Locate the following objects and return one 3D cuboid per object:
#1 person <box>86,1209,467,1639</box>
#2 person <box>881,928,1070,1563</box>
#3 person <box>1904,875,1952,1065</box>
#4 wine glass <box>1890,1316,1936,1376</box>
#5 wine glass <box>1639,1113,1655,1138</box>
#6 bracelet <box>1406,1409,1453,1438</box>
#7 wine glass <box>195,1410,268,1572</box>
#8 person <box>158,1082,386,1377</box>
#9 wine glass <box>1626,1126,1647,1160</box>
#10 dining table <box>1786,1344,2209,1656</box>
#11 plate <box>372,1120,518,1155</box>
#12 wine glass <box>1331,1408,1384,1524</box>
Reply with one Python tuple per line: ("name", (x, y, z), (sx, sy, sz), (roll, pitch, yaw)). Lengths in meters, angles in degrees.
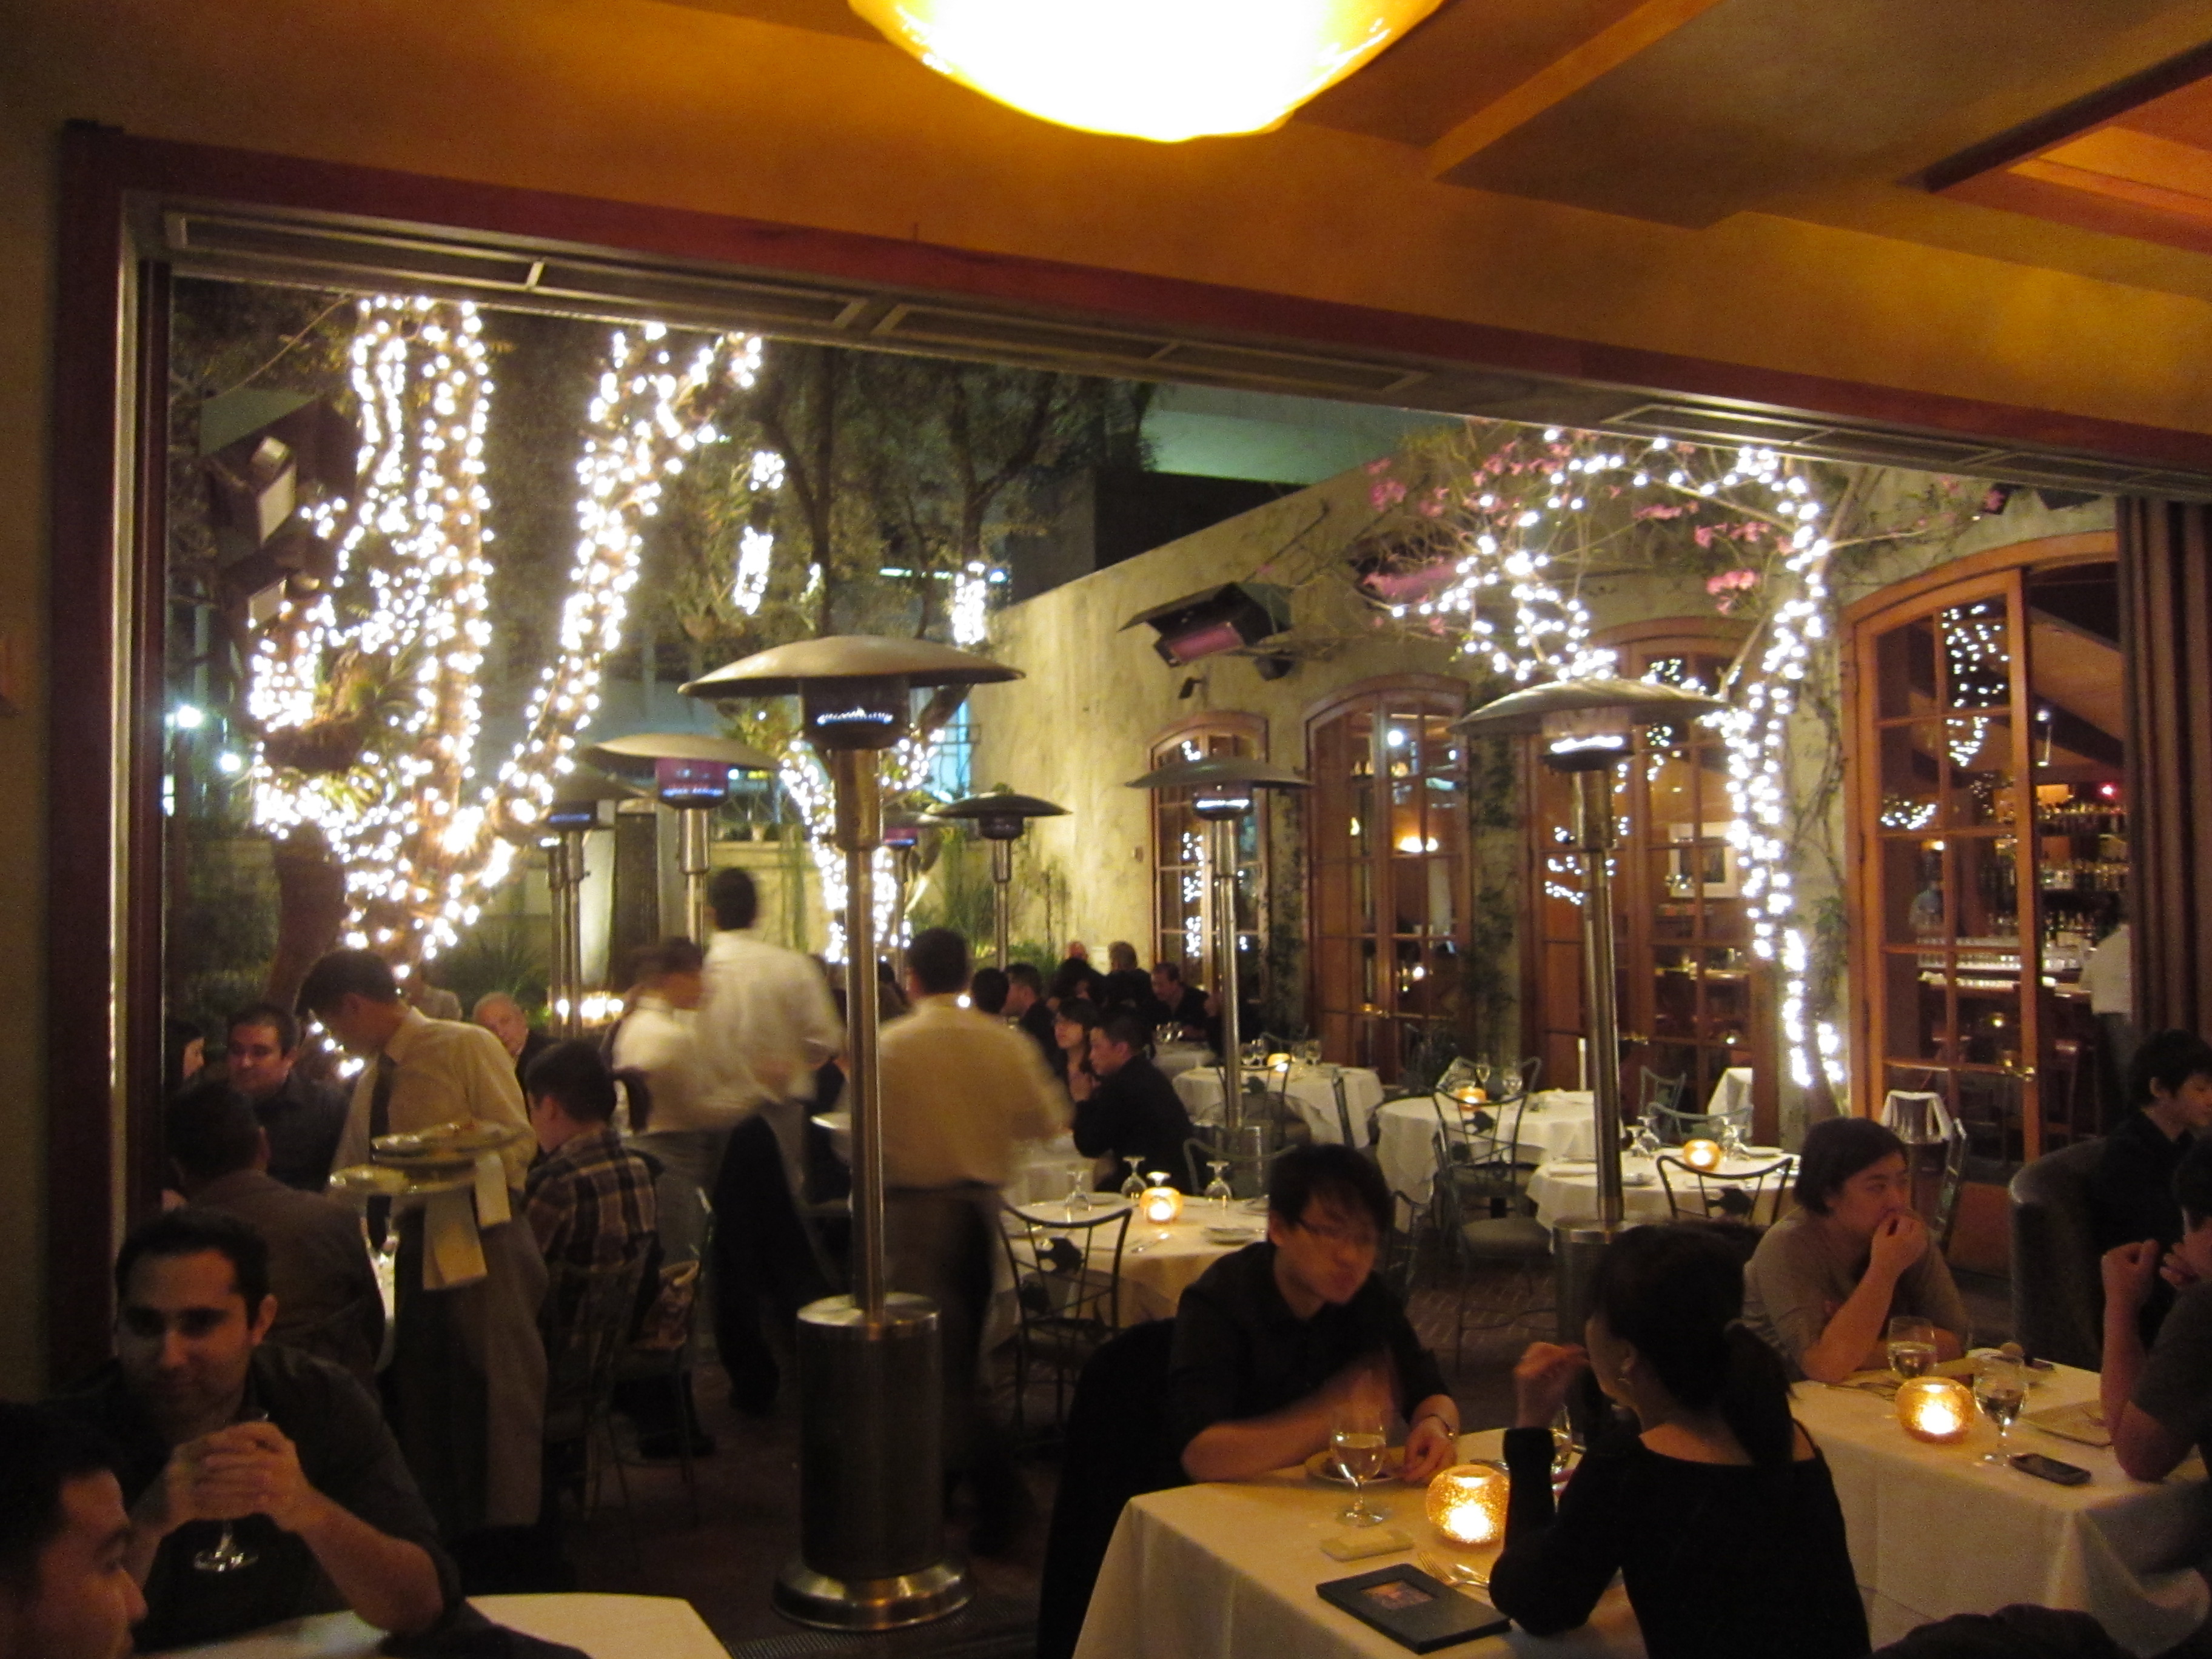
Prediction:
("person", (-1.534, 1.104, 3.798), (0.592, 0.786, 0.385), (0, -3, -25))
("person", (-0.446, 1.279, 6.609), (0.511, 1.943, 0.702), (-1, -2, 11))
("person", (3.666, 0.630, 9.024), (0.097, 0.822, 0.347), (-1, -2, -3))
("wine glass", (1.944, 1.248, 4.918), (0.101, 0.121, 0.106), (-4, -3, 30))
("wine glass", (2.398, 1.304, 8.977), (0.067, 0.081, 0.070), (-1, -4, -5))
("bracelet", (0.737, 1.330, 4.566), (0.030, 0.064, 0.089), (33, -7, 20))
("wine glass", (-1.635, 1.298, 3.794), (0.101, 0.138, 0.103), (4, 11, 10))
("person", (-3.056, 1.260, 7.385), (0.510, 1.249, 0.397), (8, -13, -7))
("wine glass", (2.287, 1.344, 8.775), (0.080, 0.085, 0.077), (0, -2, 2))
("dining table", (2.104, 1.430, 4.589), (0.609, 0.323, 0.609), (-8, 5, -29))
("plate", (-1.875, 0.869, 5.754), (0.410, 0.080, 0.299), (-2, -3, 16))
("wine glass", (0.547, 1.371, 4.366), (0.128, 0.209, 0.135), (-2, -2, 26))
